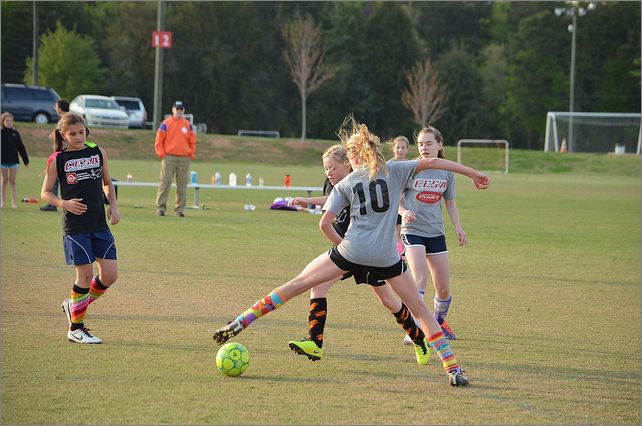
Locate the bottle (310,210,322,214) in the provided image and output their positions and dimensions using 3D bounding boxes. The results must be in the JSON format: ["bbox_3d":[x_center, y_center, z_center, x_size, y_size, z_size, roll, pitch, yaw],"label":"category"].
[{"bbox_3d":[-0.248,-0.012,43.750,0.357,0.089,0.376,0,4,0],"label":"bottle"}]

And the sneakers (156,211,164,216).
[{"bbox_3d":[-6.201,0.042,40.781,0.172,0.158,0.164,-1,-5,4],"label":"sneakers"}]

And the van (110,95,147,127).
[{"bbox_3d":[-11.668,-6.194,65.207,1.509,1.269,2.570,0,13,-5],"label":"van"}]
